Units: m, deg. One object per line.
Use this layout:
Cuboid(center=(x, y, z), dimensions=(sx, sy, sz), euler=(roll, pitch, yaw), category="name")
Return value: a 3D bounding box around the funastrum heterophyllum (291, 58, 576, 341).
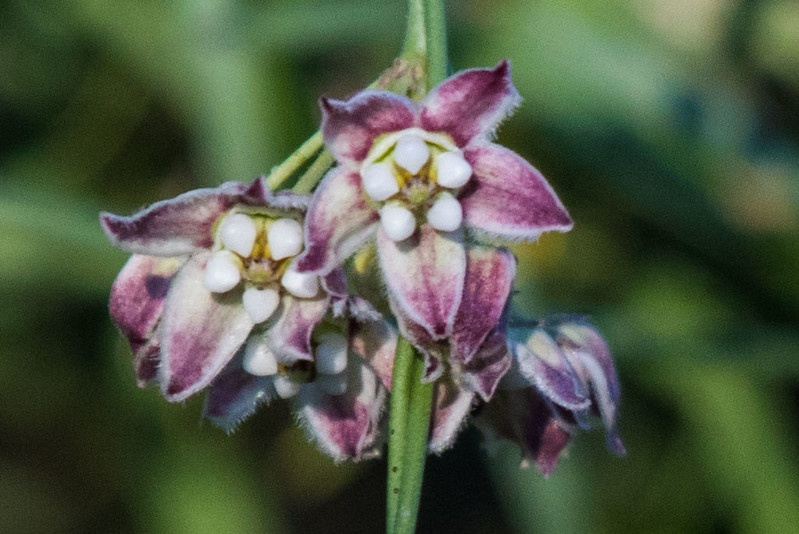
Cuboid(center=(-0.016, -0.241, 2.623), dimensions=(0.197, 0.569, 0.532), euler=(-12, 53, 26), category="funastrum heterophyllum")
